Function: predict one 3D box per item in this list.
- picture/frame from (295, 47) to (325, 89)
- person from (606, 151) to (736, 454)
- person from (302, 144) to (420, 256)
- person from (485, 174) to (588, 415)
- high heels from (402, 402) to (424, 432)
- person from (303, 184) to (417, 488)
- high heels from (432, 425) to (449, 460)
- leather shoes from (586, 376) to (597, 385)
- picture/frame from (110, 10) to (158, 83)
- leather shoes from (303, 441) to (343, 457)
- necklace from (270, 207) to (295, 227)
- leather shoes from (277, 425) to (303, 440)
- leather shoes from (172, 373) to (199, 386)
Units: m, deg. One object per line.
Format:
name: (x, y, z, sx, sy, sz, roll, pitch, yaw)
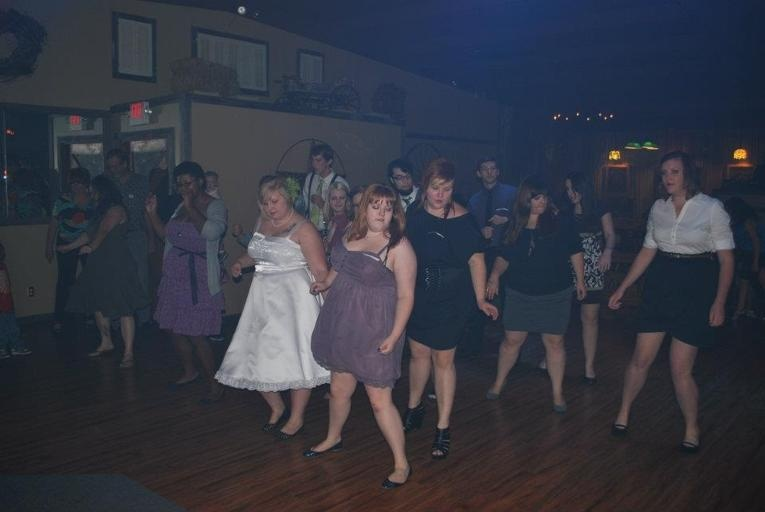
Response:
picture/frame: (-1.353, -3.494, 10.822, 0.644, 0.647, 0.070, 8, 16, 31)
person: (2.579, 0.392, 5.105, 0.735, 2.527, 0.438, 9, 13, 31)
person: (-0.319, -0.645, 6.453, 1.672, 1.174, 0.734, 4, 14, 25)
person: (1.500, 0.392, 5.765, 0.909, 2.222, 0.420, 6, 12, 19)
high heels: (0.283, 1.517, 5.434, 0.118, 0.120, 0.289, -8, 5, 29)
person: (-0.146, 0.635, 4.681, 0.809, 2.381, 0.446, 3, 11, 6)
high heels: (0.495, 1.614, 5.032, 0.139, 0.244, 0.114, 2, 11, 2)
leather shoes: (2.264, 1.346, 6.357, 0.064, 0.036, 0.115, 2, 12, 16)
picture/frame: (-3.922, -3.307, 9.257, 0.643, 0.922, 0.047, 5, 12, -5)
leather shoes: (-0.522, 1.665, 5.105, 0.337, 0.130, 0.123, 1, 0, -17)
necklace: (-0.885, -0.336, 5.193, 0.147, 0.180, 0.193, 11, 18, 42)
leather shoes: (-0.857, 1.605, 5.339, 0.115, 0.086, 0.213, 1, -3, 38)
leather shoes: (-2.135, 1.346, 6.329, 0.241, 0.176, 0.100, -7, -3, -7)
